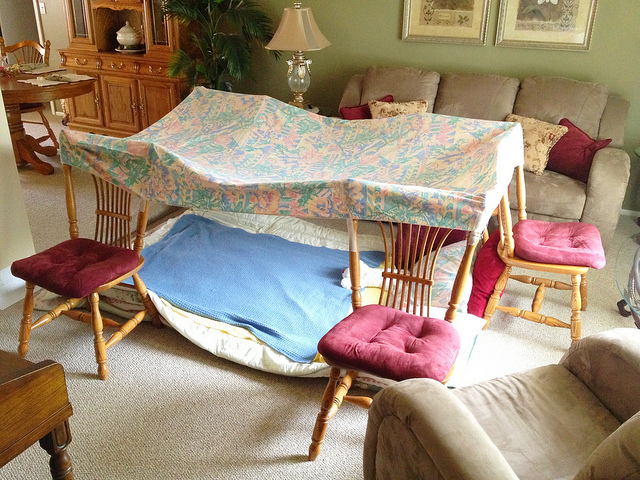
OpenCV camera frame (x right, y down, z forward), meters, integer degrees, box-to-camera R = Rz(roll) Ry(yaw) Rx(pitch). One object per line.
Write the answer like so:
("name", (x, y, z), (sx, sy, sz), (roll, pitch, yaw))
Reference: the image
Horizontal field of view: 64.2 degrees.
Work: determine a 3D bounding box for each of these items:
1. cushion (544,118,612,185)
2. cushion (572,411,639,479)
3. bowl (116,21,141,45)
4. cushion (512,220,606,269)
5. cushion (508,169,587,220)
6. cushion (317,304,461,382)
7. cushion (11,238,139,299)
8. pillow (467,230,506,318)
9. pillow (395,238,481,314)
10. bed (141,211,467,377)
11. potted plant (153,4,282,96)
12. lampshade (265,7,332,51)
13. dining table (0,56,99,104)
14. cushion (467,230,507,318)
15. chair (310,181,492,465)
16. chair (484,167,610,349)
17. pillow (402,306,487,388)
("cushion", (1.938, -0.679, 3.816), (0.455, 0.438, 0.138), (39, 13, 36))
("cushion", (0.803, 0.592, 1.405), (0.125, 0.216, 0.147), (16, 29, 24))
("bowl", (-1.994, -2.154, 5.298), (0.216, 0.218, 0.220), (2, 25, -1))
("cushion", (1.318, 0.001, 2.846), (0.469, 0.085, 0.495), (10, 26, 14))
("cushion", (1.674, -0.317, 3.643), (0.501, 0.199, 0.446), (18, 61, 15))
("cushion", (0.321, 0.432, 2.199), (0.511, 0.108, 0.464), (17, 29, 27))
("cushion", (-1.236, 0.130, 2.605), (0.502, 0.096, 0.405), (14, 28, 21))
("pillow", (0.929, 0.201, 2.902), (0.125, 0.412, 0.357), (15, 22, 0))
("pillow", (0.621, 0.207, 2.691), (0.242, 0.417, 0.262), (22, 24, 9))
("bed", (-0.344, 0.428, 3.154), (1.447, 0.160, 1.049), (10, 35, 12))
("potted plant", (-1.033, -1.869, 4.911), (1.000, 1.049, 1.059), (25, 31, 37))
("lampshade", (-0.168, -1.679, 4.113), (0.416, 0.279, 0.415), (15, 37, 29))
("dining table", (-2.456, -1.458, 4.586), (0.716, 0.277, 1.035), (-11, 29, -26))
("cushion", (0.952, 0.194, 2.902), (0.129, 0.419, 0.337), (15, 18, 1))
("chair", (0.369, 0.375, 2.268), (0.765, 1.200, 0.801), (12, 37, 16))
("chair", (1.353, 0.141, 3.006), (0.657, 1.012, 0.515), (8, 51, 26))
("pillow", (0.564, 0.494, 2.323), (0.272, 0.447, 0.286), (9, 28, 6))
